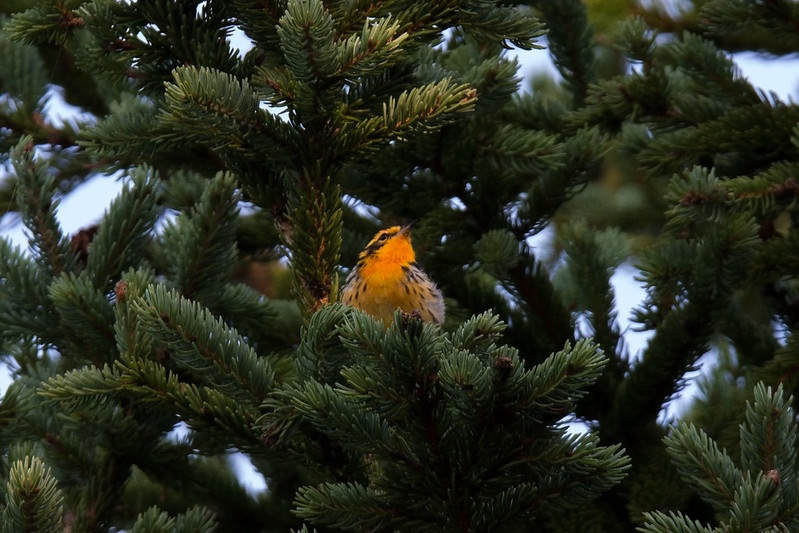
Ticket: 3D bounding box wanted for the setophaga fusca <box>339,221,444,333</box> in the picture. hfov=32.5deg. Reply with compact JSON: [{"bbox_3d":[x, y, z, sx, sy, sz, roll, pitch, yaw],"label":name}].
[{"bbox_3d":[-0.011,0.065,8.423,0.443,0.514,0.700,6,-36,-5],"label":"setophaga fusca"}]
